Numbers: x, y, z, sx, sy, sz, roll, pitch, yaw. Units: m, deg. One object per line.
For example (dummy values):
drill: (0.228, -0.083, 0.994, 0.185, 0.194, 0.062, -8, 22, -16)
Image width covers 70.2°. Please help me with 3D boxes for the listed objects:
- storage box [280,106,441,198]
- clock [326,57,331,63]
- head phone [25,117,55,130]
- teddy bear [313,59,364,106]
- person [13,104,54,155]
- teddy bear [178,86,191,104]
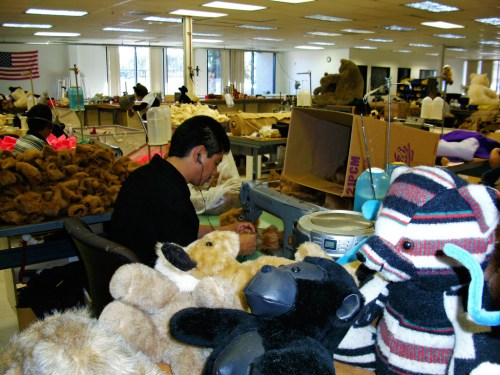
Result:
storage box: (0.603, -0.247, 2.017, 0.613, 0.408, 0.612, 0, 14, -36)
clock: (3.369, -5.484, 15.347, 0.044, 0.202, 0.193, 3, 1, -36)
head phone: (-2.074, -0.638, 3.556, 0.157, 0.105, 0.210, 3, 10, 11)
teddy bear: (0.937, -1.136, 3.779, 0.525, 0.493, 0.519, 8, 18, 17)
person: (-1.930, -0.570, 3.222, 0.253, 0.331, 1.228, -5, 15, -27)
teddy bear: (-1.066, -1.519, 5.817, 0.202, 0.302, 0.844, -1, 13, -10)
